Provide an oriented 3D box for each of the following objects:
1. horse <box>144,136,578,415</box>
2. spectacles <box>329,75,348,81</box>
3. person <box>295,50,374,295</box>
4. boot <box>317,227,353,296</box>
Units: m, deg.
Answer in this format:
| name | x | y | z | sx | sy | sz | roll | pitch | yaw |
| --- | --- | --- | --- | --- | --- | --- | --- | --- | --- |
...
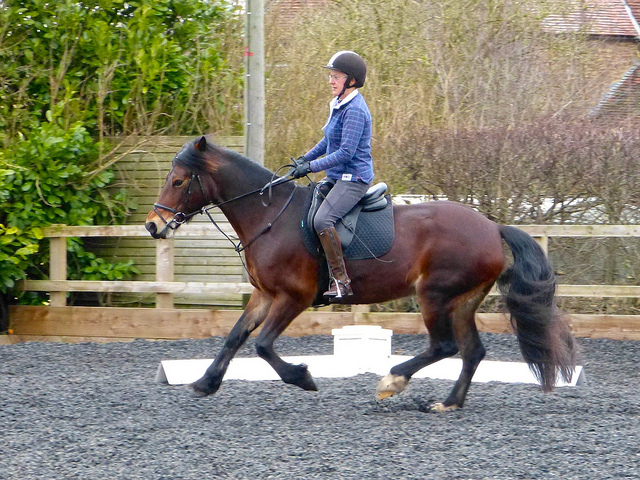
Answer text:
| name | x | y | z | sx | sy | sz | roll | pitch | yaw |
| --- | --- | --- | --- | --- | --- | --- | --- | --- | --- |
| horse | 0.500 | 0.331 | 7.947 | 3.962 | 2.715 | 0.988 | 0 | 18 | 3 |
| spectacles | 0.157 | -1.596 | 7.909 | 0.106 | 0.043 | 0.224 | -8 | 14 | -32 |
| person | 0.145 | -0.670 | 7.920 | 0.731 | 2.356 | 0.980 | 0 | 17 | 2 |
| boot | 0.175 | 0.204 | 7.790 | 0.263 | 0.688 | 0.219 | -14 | 22 | -35 |
